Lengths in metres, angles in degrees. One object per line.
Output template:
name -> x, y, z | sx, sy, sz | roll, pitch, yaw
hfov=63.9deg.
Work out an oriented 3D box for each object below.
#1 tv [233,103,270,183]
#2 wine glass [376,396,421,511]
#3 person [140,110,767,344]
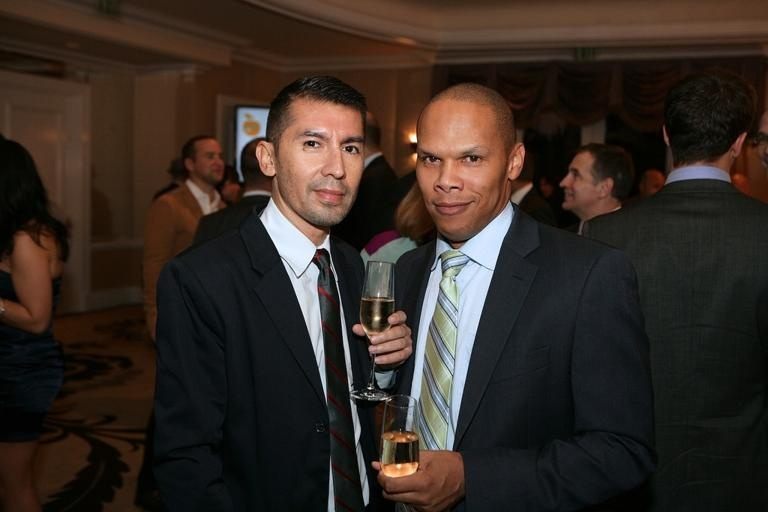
tv -> -2.111, -1.837, 10.039 | 0.899, 1.196, 0.044 | 6, 7, 35
wine glass -> 0.060, 0.673, 2.314 | 0.145, 0.279, 0.136 | 1, 12, 4
person -> 0.255, -0.155, 3.208 | 3.016, 0.960, 0.803 | -5, 29, -5
